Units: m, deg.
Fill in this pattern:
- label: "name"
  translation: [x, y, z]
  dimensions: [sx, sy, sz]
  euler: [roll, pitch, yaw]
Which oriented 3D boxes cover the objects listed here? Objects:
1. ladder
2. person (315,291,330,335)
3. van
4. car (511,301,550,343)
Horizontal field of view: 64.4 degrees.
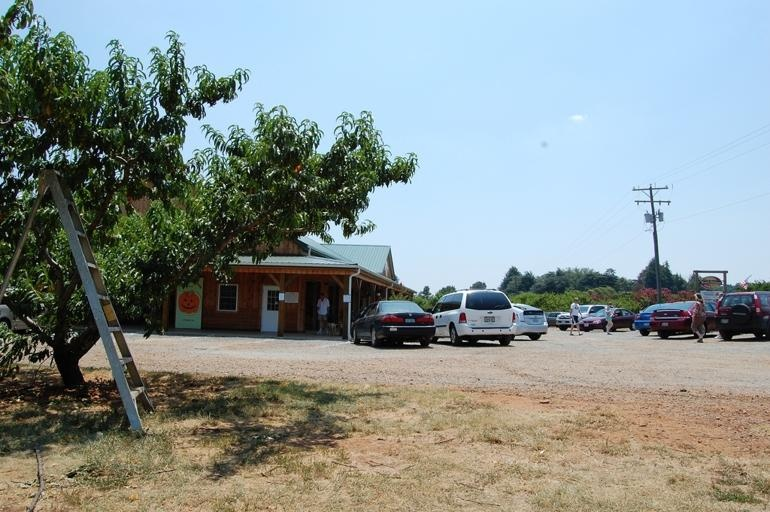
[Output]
- label: "ladder"
  translation: [-4.262, 0.572, 8.628]
  dimensions: [2.031, 3.557, 1.502]
  euler: [0, 5, -4]
- label: "person"
  translation: [-2.703, 2.472, 26.658]
  dimensions: [0.447, 1.689, 1.463]
  euler: [0, 5, -4]
- label: "van"
  translation: [2.920, 2.117, 21.559]
  dimensions: [1.611, 1.379, 3.116]
  euler: [1, -4, -8]
- label: "car"
  translation: [5.902, 2.756, 25.160]
  dimensions: [1.182, 1.205, 2.551]
  euler: [-1, -3, 1]
